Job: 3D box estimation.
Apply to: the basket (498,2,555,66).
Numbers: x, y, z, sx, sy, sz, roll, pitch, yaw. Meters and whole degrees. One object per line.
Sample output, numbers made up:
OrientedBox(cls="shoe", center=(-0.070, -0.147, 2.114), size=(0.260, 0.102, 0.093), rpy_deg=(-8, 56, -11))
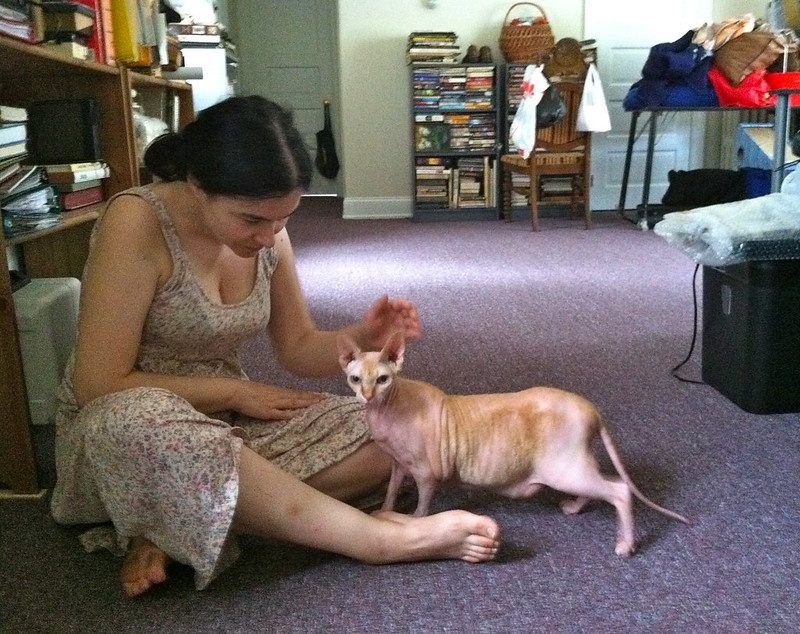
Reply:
OrientedBox(cls="basket", center=(1.017, -2.263, 5.193), size=(0.467, 0.557, 0.578), rpy_deg=(1, 26, 8))

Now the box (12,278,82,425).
OrientedBox(cls="box", center=(-0.933, 0.035, 1.681), size=(0.123, 0.209, 0.213), rpy_deg=(0, 18, -16))

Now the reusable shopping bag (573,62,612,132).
OrientedBox(cls="reusable shopping bag", center=(1.418, -1.578, 4.676), size=(0.224, 0.467, 0.253), rpy_deg=(7, 21, 22))

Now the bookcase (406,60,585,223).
OrientedBox(cls="bookcase", center=(0.760, -1.432, 5.133), size=(1.459, 1.306, 0.455), rpy_deg=(-1, 11, -2))

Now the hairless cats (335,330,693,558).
OrientedBox(cls="hairless cats", center=(0.156, 0.198, 1.205), size=(0.776, 0.439, 0.273), rpy_deg=(1, 8, 4))

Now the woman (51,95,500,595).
OrientedBox(cls="woman", center=(-0.313, 0.048, 1.139), size=(0.590, 0.828, 0.655), rpy_deg=(-15, 23, -33))
